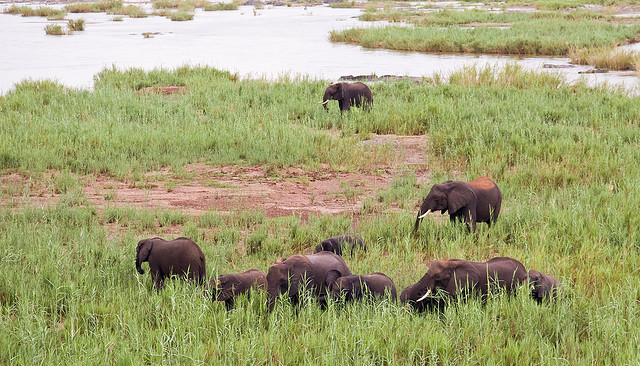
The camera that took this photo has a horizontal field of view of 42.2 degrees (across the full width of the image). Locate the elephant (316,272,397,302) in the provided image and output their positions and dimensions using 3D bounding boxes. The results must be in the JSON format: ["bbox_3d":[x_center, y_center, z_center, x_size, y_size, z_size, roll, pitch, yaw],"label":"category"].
[{"bbox_3d":[1.038,3.199,24.496,2.130,1.206,0.925,-1,-11,-4],"label":"elephant"}]

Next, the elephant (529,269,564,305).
[{"bbox_3d":[6.499,3.007,23.996,0.987,0.876,0.509,2,12,11],"label":"elephant"}]

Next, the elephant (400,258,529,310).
[{"bbox_3d":[4.181,3.118,24.692,3.497,1.991,1.551,-1,-3,-1],"label":"elephant"}]

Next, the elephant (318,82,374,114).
[{"bbox_3d":[1.063,-3.320,32.426,2.000,1.413,1.043,-2,18,-8],"label":"elephant"}]

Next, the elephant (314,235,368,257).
[{"bbox_3d":[0.538,1.913,25.150,1.361,0.731,0.596,2,-2,-3],"label":"elephant"}]
